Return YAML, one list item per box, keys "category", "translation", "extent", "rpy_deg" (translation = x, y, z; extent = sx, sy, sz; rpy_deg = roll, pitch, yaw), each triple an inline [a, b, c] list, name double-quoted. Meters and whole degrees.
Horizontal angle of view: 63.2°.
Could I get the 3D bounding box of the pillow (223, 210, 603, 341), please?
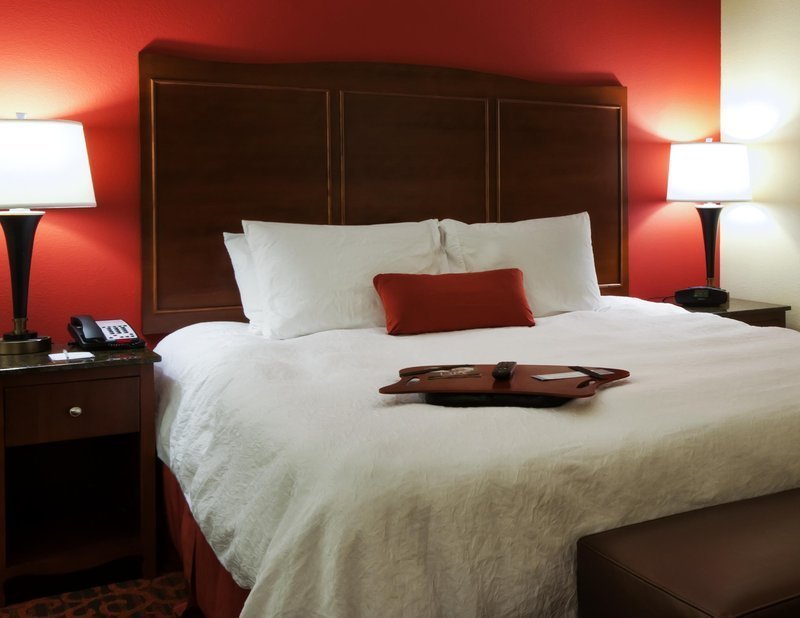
- category: "pillow"
  translation: [0.138, -0.202, 3.135]
  extent: [1.675, 0.636, 0.374]
  rpy_deg: [-9, 8, -18]
